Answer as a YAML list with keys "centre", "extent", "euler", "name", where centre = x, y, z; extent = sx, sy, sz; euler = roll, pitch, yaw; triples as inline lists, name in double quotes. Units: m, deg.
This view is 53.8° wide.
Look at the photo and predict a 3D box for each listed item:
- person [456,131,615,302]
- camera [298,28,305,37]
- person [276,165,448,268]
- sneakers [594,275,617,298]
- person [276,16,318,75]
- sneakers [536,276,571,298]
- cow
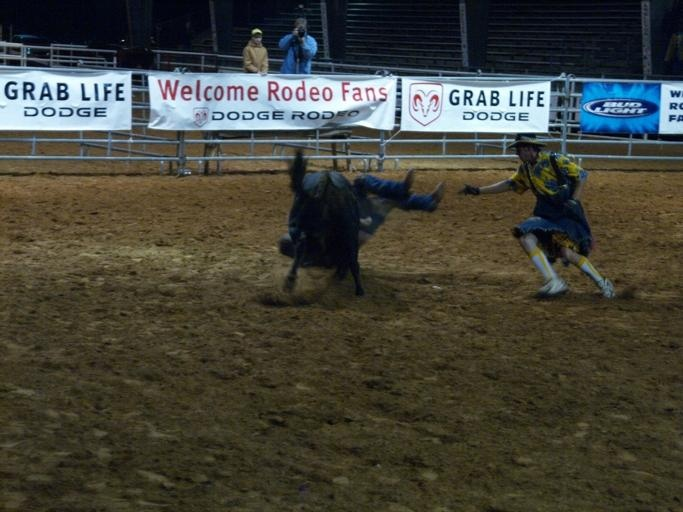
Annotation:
- centre: [2.135, -0.404, 6.810]
  extent: [1.284, 1.634, 0.503]
  euler: [2, 13, 6]
  name: "person"
- centre: [-0.801, -4.534, 13.624]
  extent: [0.135, 0.124, 0.210]
  euler: [0, 10, -2]
  name: "camera"
- centre: [0.183, -0.593, 7.624]
  extent: [1.941, 0.503, 0.702]
  euler: [-9, -21, 35]
  name: "person"
- centre: [2.679, 0.309, 6.889]
  extent: [0.154, 0.233, 0.136]
  euler: [-36, -7, 34]
  name: "sneakers"
- centre: [-0.891, -4.338, 13.889]
  extent: [0.705, 1.191, 1.006]
  euler: [-1, 11, -4]
  name: "person"
- centre: [2.153, 0.315, 6.792]
  extent: [0.374, 0.218, 0.120]
  euler: [-5, 13, -26]
  name: "sneakers"
- centre: [-0.223, -0.307, 6.579]
  extent: [0.769, 1.444, 1.103]
  euler: [6, 13, 24]
  name: "cow"
